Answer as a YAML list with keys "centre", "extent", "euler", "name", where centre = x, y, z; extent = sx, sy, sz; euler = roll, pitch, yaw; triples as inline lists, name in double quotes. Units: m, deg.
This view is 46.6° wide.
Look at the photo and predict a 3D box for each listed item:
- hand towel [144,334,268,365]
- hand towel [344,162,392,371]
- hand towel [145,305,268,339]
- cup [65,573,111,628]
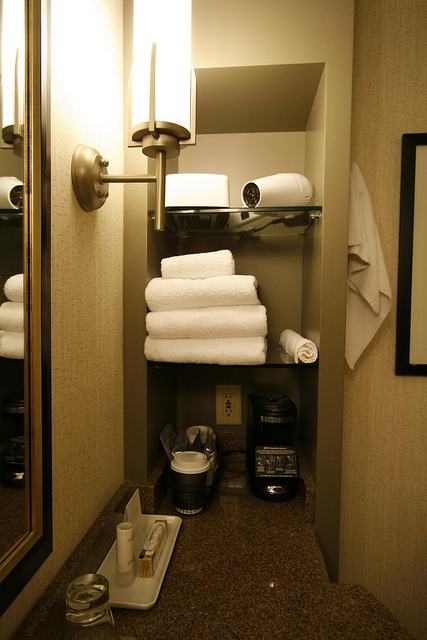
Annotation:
- centre: [-0.019, 0.066, 1.094]
  extent: [0.267, 0.067, 0.044]
  euler: [4, 6, 1]
  name: "hand towel"
- centre: [0.360, -0.132, 1.231]
  extent: [0.170, 0.520, 0.106]
  euler: [-2, 7, -34]
  name: "hand towel"
- centre: [-0.018, 0.006, 1.100]
  extent: [0.267, 0.081, 0.037]
  euler: [4, 6, 2]
  name: "hand towel"
- centre: [-0.168, 0.379, 0.668]
  extent: [0.047, 0.057, 0.053]
  euler: [0, 5, -2]
  name: "cup"
